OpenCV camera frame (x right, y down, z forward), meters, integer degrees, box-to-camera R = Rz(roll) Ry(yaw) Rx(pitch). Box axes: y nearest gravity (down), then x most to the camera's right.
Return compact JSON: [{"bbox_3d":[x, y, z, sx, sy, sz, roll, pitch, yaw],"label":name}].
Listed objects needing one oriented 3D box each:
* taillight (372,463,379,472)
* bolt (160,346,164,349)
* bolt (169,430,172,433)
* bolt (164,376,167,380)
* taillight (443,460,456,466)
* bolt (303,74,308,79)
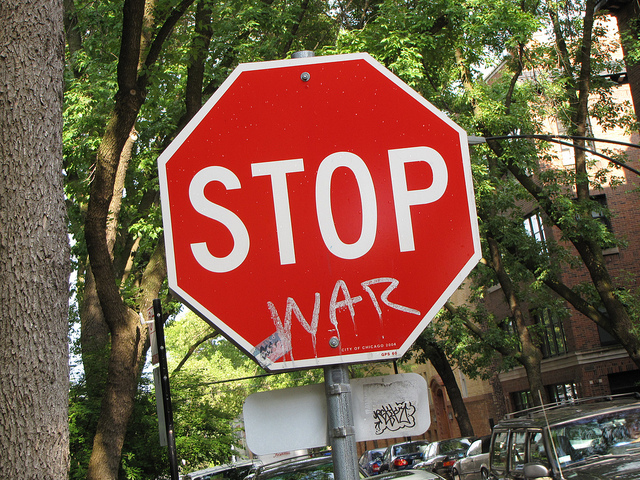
[{"bbox_3d":[1.798,7.284,24.070,0.199,0.239,0.600,-9,-15,-1],"label":"taillight"},{"bbox_3d":[-1.935,1.309,9.196,0.037,0.040,0.011,1,1,-3],"label":"bolt"},{"bbox_3d":[-1.786,2.279,8.982,0.028,0.030,0.011,5,8,-13],"label":"bolt"},{"bbox_3d":[-1.843,1.642,8.977,0.026,0.041,0.100,-7,-15,-8],"label":"bolt"},{"bbox_3d":[3.518,6.022,20.303,0.362,0.125,0.215,-10,-14,-4],"label":"taillight"},{"bbox_3d":[-0.085,-0.967,4.452,0.025,0.028,0.006,0,7,2],"label":"bolt"}]
